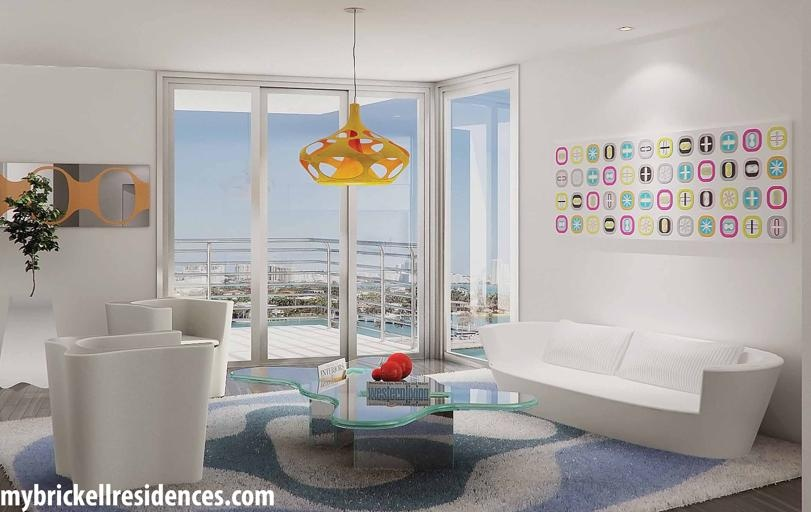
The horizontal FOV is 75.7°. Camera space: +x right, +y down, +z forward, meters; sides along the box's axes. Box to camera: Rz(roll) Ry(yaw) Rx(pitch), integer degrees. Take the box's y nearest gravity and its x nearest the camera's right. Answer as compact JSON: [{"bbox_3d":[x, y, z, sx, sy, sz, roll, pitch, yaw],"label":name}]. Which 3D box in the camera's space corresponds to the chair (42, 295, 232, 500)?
[{"bbox_3d":[-1.893,1.000,4.382,1.713,1.308,1.335,3,-3,-28],"label":"chair"}]
